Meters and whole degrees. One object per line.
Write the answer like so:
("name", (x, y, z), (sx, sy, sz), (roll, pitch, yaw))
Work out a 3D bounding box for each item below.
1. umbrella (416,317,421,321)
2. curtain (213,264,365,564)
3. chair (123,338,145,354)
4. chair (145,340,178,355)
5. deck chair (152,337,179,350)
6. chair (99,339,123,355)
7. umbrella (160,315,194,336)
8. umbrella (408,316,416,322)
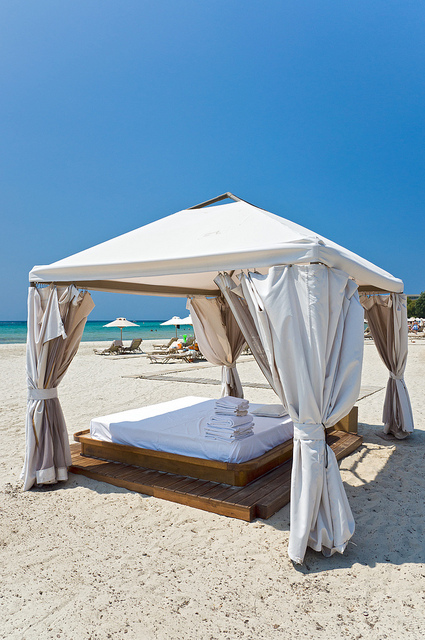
("umbrella", (17.350, -0.119, 45.341), (0.334, 0.249, 0.347), (-5, -2, 35))
("curtain", (0.643, 0.604, 3.712), (0.818, 1.981, 0.582), (-1, 2, 9))
("chair", (-3.330, 1.068, 22.531), (1.117, 0.732, 0.587), (1, 1, 42))
("chair", (-2.011, 1.148, 20.098), (1.326, 0.519, 0.797), (0, -2, 22))
("deck chair", (-1.972, 0.908, 21.066), (1.041, 0.639, 0.692), (1, -2, 15))
("chair", (-4.096, 1.114, 21.985), (0.770, 0.498, 0.542), (1, 1, 38))
("umbrella", (-2.996, 0.538, 44.599), (2.211, 1.853, 2.254), (-2, 4, -9))
("umbrella", (14.481, -0.107, 38.992), (0.470, 0.246, 0.487), (-3, 2, 39))
